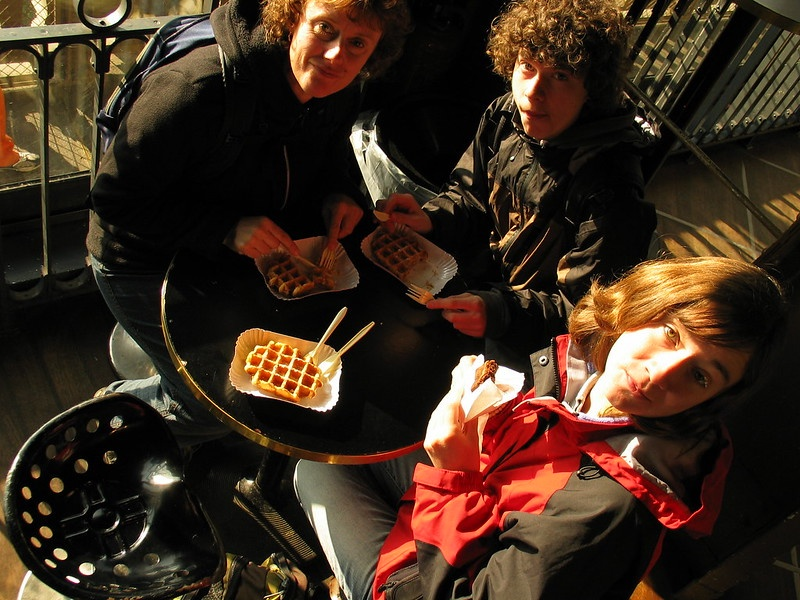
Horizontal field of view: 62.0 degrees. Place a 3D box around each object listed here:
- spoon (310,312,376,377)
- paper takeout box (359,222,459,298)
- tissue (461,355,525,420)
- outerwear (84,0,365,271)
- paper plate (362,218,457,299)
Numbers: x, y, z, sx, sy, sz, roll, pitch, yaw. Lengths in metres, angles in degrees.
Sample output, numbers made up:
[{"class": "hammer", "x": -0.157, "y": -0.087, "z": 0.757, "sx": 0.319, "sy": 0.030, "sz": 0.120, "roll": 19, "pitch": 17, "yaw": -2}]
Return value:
[{"class": "spoon", "x": -0.230, "y": 0.191, "z": 2.760, "sx": 0.028, "sy": 0.110, "sz": 0.330, "roll": 0, "pitch": 39, "yaw": 47}, {"class": "paper takeout box", "x": 0.054, "y": -0.186, "z": 3.091, "sx": 0.410, "sy": 0.088, "sz": 0.295, "roll": 38, "pitch": 58, "yaw": 11}, {"class": "tissue", "x": 0.339, "y": 0.343, "z": 2.497, "sx": 0.204, "sy": 0.090, "sz": 0.225, "roll": -8, "pitch": 43, "yaw": 36}, {"class": "outerwear", "x": -0.705, "y": -0.667, "z": 2.835, "sx": 1.009, "sy": 1.076, "sz": 0.722, "roll": -15, "pitch": 60, "yaw": -51}, {"class": "paper plate", "x": 0.049, "y": -0.179, "z": 3.089, "sx": 0.411, "sy": 0.090, "sz": 0.297, "roll": 37, "pitch": 57, "yaw": 13}]
